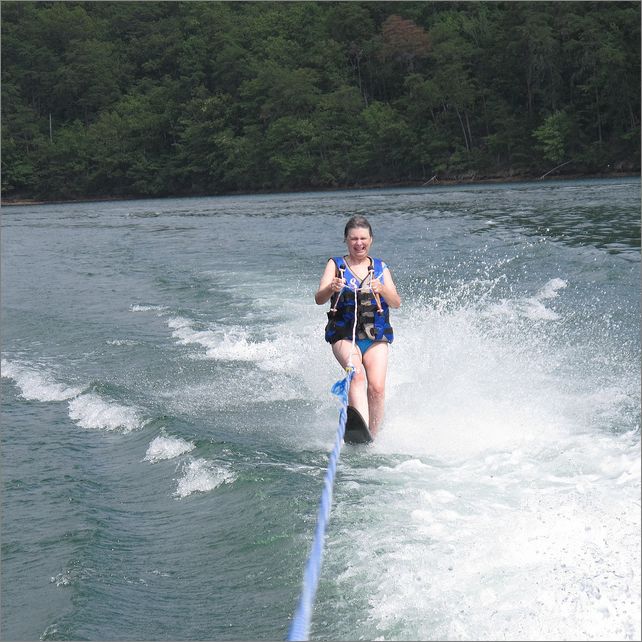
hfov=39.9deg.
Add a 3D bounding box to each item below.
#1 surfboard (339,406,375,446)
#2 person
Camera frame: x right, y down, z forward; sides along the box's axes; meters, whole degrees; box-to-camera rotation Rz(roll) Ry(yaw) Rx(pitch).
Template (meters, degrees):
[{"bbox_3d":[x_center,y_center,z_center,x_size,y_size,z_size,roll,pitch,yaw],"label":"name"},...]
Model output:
[{"bbox_3d":[0.229,0.738,5.960,0.120,0.351,0.139,-5,38,10],"label":"surfboard"},{"bbox_3d":[0.289,0.041,6.280,0.596,1.513,0.857,-6,12,0],"label":"person"}]
